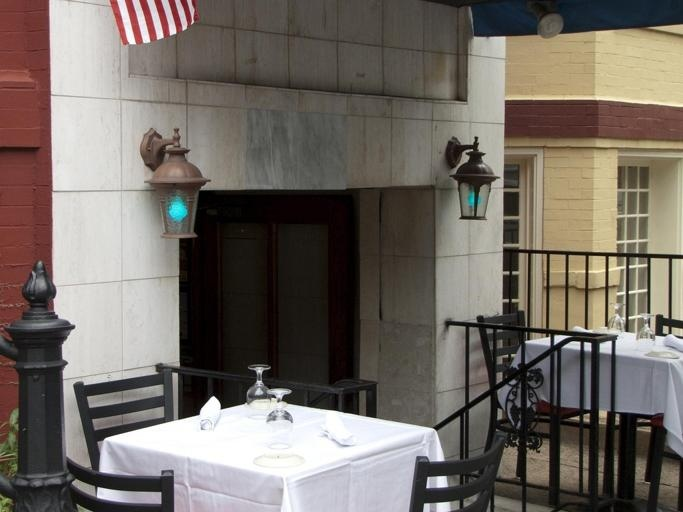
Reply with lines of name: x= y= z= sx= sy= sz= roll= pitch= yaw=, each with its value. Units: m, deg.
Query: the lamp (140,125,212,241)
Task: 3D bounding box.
lamp: x=-1.077 y=-0.485 z=6.920 sx=0.425 sy=0.731 sz=0.405 roll=1 pitch=4 yaw=37

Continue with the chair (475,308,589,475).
chair: x=1.503 y=1.002 z=8.445 sx=0.703 sy=1.121 sz=0.644 roll=4 pitch=-11 yaw=-23

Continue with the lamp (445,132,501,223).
lamp: x=1.058 y=-0.630 z=8.514 sx=0.450 sy=0.710 sz=0.415 roll=5 pitch=-4 yaw=-41
